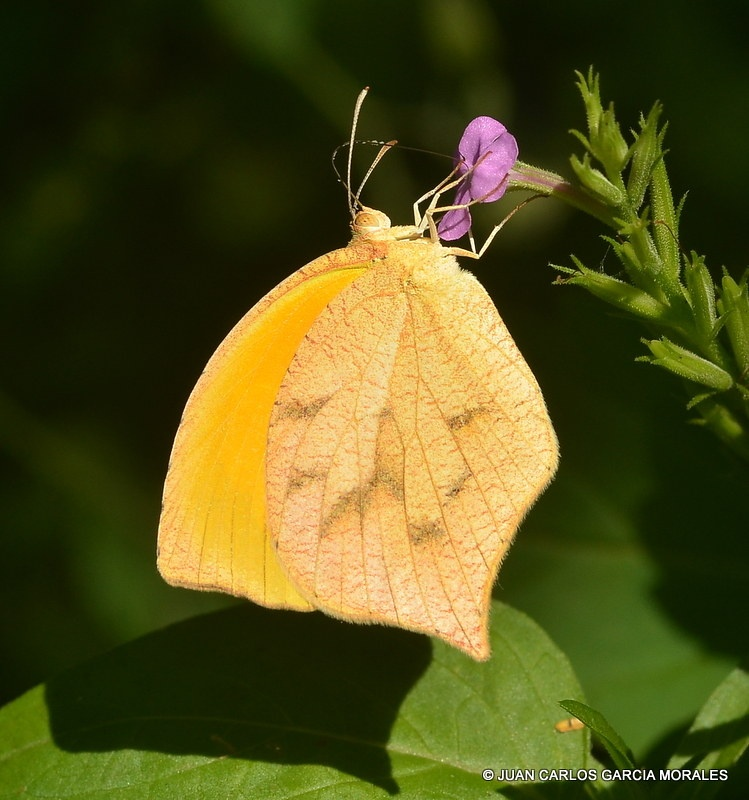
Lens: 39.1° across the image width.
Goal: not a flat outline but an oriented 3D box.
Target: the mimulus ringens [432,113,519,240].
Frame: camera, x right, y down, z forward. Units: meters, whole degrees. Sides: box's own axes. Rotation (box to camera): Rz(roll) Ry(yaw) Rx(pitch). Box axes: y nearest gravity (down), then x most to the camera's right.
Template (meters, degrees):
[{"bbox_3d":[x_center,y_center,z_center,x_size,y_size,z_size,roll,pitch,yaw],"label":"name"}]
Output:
[{"bbox_3d":[0.258,-0.546,2.643,0.208,0.299,0.202,-1,27,-7],"label":"mimulus ringens"}]

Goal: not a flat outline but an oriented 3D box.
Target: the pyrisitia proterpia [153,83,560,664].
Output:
[{"bbox_3d":[-0.075,0.118,2.757,1.046,1.127,0.624,-21,11,14],"label":"pyrisitia proterpia"}]
